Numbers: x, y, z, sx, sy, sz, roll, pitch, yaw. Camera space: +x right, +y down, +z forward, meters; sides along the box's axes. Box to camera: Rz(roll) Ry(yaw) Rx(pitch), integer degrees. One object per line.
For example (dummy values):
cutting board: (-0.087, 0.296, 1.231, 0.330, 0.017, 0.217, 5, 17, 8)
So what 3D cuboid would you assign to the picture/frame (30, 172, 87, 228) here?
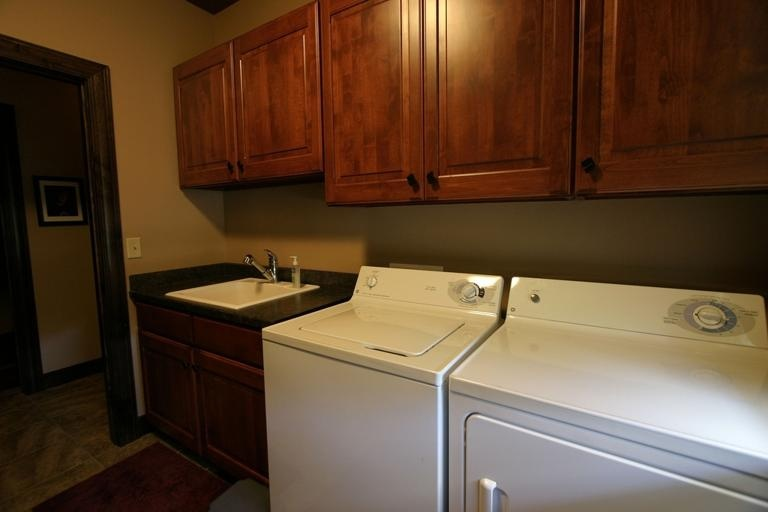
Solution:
picture/frame: (-2.566, -0.441, 4.047, 0.033, 0.479, 0.436, -8, 0, 34)

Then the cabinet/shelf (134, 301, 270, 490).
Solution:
cabinet/shelf: (-1.021, 0.815, 2.970, 1.024, 0.844, 0.523, 4, 5, 34)
